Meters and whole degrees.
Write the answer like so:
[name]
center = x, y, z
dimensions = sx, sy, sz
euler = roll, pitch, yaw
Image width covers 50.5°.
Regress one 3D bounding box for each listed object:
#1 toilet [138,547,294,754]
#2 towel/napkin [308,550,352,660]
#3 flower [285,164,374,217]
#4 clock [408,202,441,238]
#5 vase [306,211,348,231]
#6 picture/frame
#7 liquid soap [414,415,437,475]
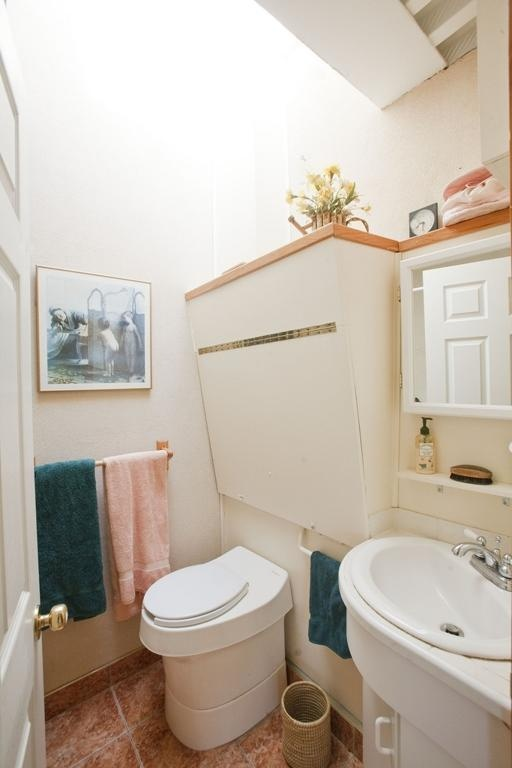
[toilet]
center = -0.195, 0.933, 2.070
dimensions = 0.549, 0.604, 0.423
euler = -5, 6, -40
[towel/napkin]
center = 0.228, 0.714, 1.768
dimensions = 0.063, 0.290, 0.252
euler = 2, -1, -19
[flower]
center = 0.252, -0.597, 1.832
dimensions = 0.201, 0.188, 0.331
euler = 22, 38, 24
[clock]
center = 0.523, -0.507, 1.674
dimensions = 0.010, 0.116, 0.106
euler = -2, 20, -21
[vase]
center = 0.215, -0.508, 1.689
dimensions = 0.138, 0.044, 0.095
euler = 2, 10, 21
[picture/frame]
center = -0.640, -0.212, 2.077
dimensions = 0.018, 0.514, 0.456
euler = 4, 5, 45
[liquid soap]
center = 0.524, 0.186, 1.675
dimensions = 0.061, 0.162, 0.070
euler = 3, 9, 29
